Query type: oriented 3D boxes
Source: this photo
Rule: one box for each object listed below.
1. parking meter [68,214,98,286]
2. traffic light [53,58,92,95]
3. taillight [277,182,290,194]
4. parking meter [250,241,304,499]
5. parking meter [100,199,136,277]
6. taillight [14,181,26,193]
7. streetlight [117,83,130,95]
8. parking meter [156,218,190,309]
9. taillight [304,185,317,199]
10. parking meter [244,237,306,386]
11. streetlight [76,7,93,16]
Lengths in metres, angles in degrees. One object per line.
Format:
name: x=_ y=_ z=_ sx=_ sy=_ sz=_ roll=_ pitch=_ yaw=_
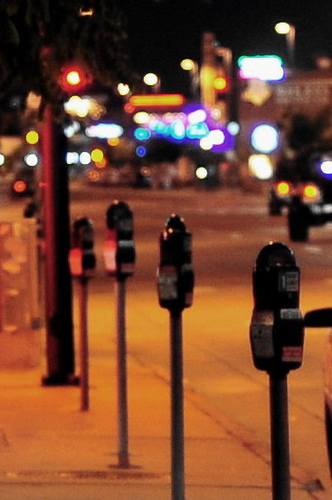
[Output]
parking meter: x=-0.512 y=0.004 z=7.302 sx=0.125 sy=0.399 sz=0.161 roll=0 pitch=-2 yaw=-39
traffic light: x=-0.677 y=-1.262 z=8.524 sx=0.264 sy=0.265 sz=0.382 roll=1 pitch=8 yaw=-3
taillight: x=1.763 y=-0.940 z=17.661 sx=0.161 sy=0.150 sz=0.032 roll=6 pitch=4 yaw=37
parking meter: x=0.479 y=0.518 z=5.153 sx=0.218 sy=1.076 sz=0.334 roll=-4 pitch=10 yaw=-31
parking meter: x=-0.252 y=-0.051 z=6.222 sx=0.160 sy=0.399 sz=0.243 roll=1 pitch=9 yaw=-4
taillight: x=-2.524 y=-1.101 z=20.283 sx=0.186 sy=0.175 sz=0.490 roll=0 pitch=8 yaw=-10
streetlight: x=-0.320 y=-1.215 z=8.853 sx=0.075 sy=0.072 sz=0.019 roll=15 pitch=39 yaw=23
parking meter: x=0.028 y=0.081 z=5.469 sx=0.157 sy=0.348 sz=0.147 roll=-1 pitch=9 yaw=-15
taillight: x=2.060 y=-0.853 z=16.959 sx=0.185 sy=0.206 sz=0.240 roll=3 pitch=8 yaw=5
parking meter: x=0.473 y=0.274 z=5.161 sx=0.220 sy=0.595 sz=0.244 roll=1 pitch=9 yaw=-8
streetlight: x=-0.583 y=-1.714 z=8.450 sx=0.062 sy=0.058 sz=0.160 roll=6 pitch=9 yaw=29
